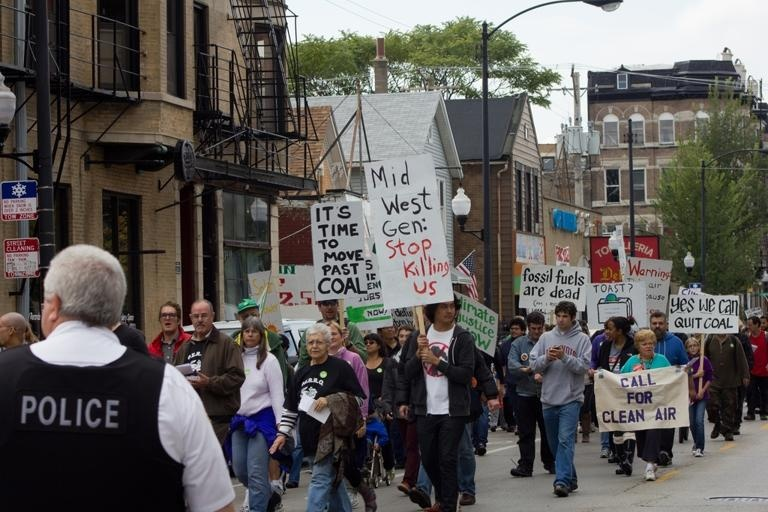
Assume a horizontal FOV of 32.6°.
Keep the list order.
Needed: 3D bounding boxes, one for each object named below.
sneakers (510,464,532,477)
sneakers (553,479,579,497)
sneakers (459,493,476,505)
[{"bbox_3d":[2.125,3.338,20.423,0.344,0.161,0.139,6,-3,0],"label":"sneakers"},{"bbox_3d":[2.566,3.295,18.731,0.287,0.211,0.570,-3,-4,18],"label":"sneakers"},{"bbox_3d":[1.152,3.374,18.289,0.217,0.162,0.293,-2,-4,4],"label":"sneakers"}]
